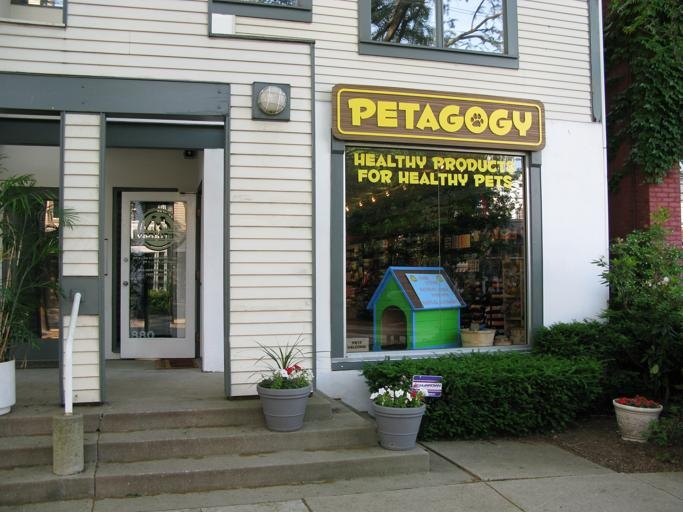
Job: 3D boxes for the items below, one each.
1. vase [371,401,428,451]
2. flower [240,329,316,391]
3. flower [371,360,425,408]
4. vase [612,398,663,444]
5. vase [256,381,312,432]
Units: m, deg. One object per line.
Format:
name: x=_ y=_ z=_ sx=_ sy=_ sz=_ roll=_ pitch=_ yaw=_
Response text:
vase: x=0.588 y=1.799 z=7.232 sx=0.624 sy=0.447 sz=0.611 roll=6 pitch=-18 yaw=-9
flower: x=-0.648 y=1.146 z=7.353 sx=0.669 sy=0.525 sz=0.690 roll=0 pitch=-1 yaw=-7
flower: x=0.653 y=1.438 z=7.417 sx=0.497 sy=0.278 sz=0.478 roll=0 pitch=9 yaw=3
vase: x=3.482 y=1.906 z=7.882 sx=0.471 sy=0.351 sz=0.466 roll=2 pitch=-3 yaw=3
vase: x=-0.589 y=1.541 z=7.011 sx=0.485 sy=0.339 sz=0.471 roll=2 pitch=-7 yaw=-11
